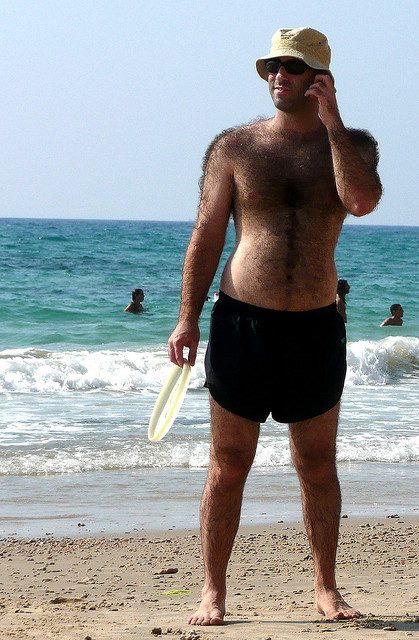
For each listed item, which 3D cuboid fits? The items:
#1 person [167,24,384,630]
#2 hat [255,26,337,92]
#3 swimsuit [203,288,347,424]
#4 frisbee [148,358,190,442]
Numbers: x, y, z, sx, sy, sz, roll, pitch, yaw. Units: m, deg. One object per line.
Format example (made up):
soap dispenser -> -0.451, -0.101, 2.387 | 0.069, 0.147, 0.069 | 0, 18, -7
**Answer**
person -> 0.221, 0.020, 3.029 | 0.689, 2.064, 0.311 | 2, 3, 9
hat -> 0.318, -0.930, 3.041 | 0.296, 0.177, 0.365 | 12, 6, 8
swimsuit -> 0.175, 0.144, 3.130 | 0.625, 0.474, 0.412 | 2, 0, -3
frisbee -> -0.149, 0.296, 3.193 | 0.071, 0.279, 0.226 | 23, -23, -11
